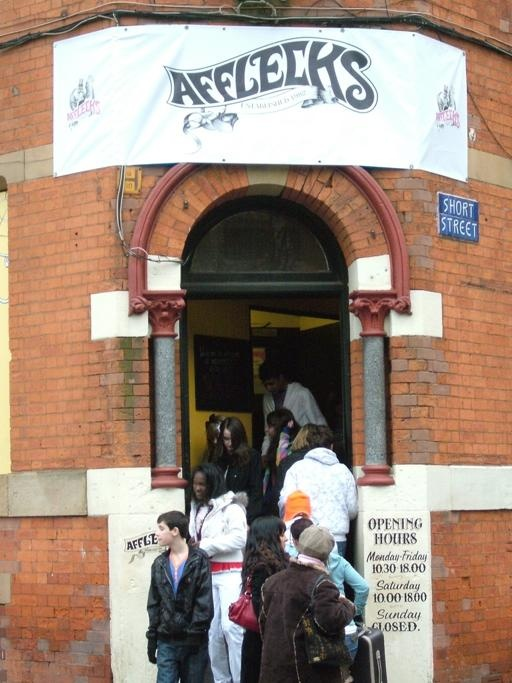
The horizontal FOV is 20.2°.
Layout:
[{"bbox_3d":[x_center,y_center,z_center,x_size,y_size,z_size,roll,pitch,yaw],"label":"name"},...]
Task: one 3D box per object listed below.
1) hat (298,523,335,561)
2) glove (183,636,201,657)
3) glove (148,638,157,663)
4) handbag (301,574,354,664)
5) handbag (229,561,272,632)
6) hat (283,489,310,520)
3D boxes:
[{"bbox_3d":[0.374,1.236,8.926,0.154,0.131,0.234,16,4,-6],"label":"hat"},{"bbox_3d":[-0.424,2.036,9.695,0.111,0.123,0.119,0,-11,-5],"label":"glove"},{"bbox_3d":[-0.712,2.087,9.833,0.062,0.119,0.167,2,-56,-1],"label":"glove"},{"bbox_3d":[0.425,1.670,8.660,0.281,0.512,0.139,-1,-11,1],"label":"handbag"},{"bbox_3d":[-0.046,1.697,9.512,0.115,0.385,0.321,8,-14,-35],"label":"handbag"},{"bbox_3d":[0.300,1.212,10.748,0.173,0.192,0.210,1,-26,-7],"label":"hat"}]
